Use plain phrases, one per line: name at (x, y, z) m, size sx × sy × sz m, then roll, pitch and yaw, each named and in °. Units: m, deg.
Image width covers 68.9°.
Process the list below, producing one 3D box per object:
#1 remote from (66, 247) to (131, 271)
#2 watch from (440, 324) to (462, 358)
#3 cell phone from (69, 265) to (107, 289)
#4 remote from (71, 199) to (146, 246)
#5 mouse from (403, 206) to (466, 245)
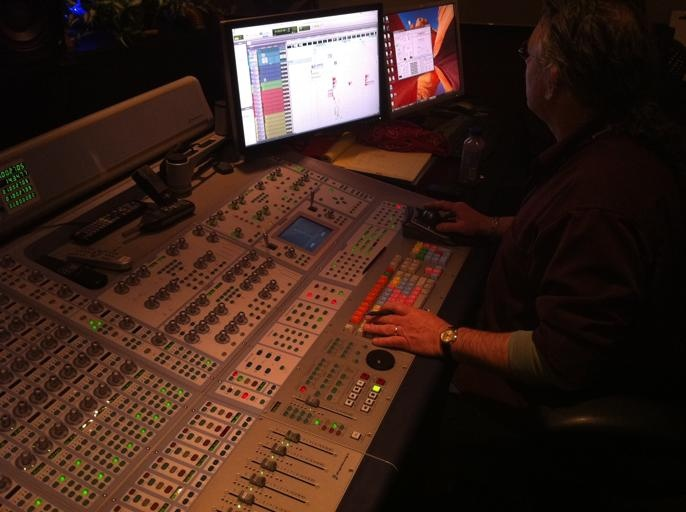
remote at (-0.877, 0.012, 1.823) m, size 0.193 × 0.042 × 0.099 m, roll 13°, pitch 29°, yaw 4°
watch at (0.350, 0.285, 1.690) m, size 0.061 × 0.093 × 0.098 m, roll 15°, pitch 60°, yaw 21°
cell phone at (-0.898, 0.072, 1.762) m, size 0.116 × 0.027 × 0.071 m, roll 26°, pitch 46°, yaw 15°
remote at (-0.928, -0.139, 2.015) m, size 0.091 × 0.038 × 0.309 m, roll 24°, pitch 48°, yaw 33°
mouse at (0.387, -0.119, 2.122) m, size 0.219 × 0.070 × 0.156 m, roll 19°, pitch 46°, yaw 2°
